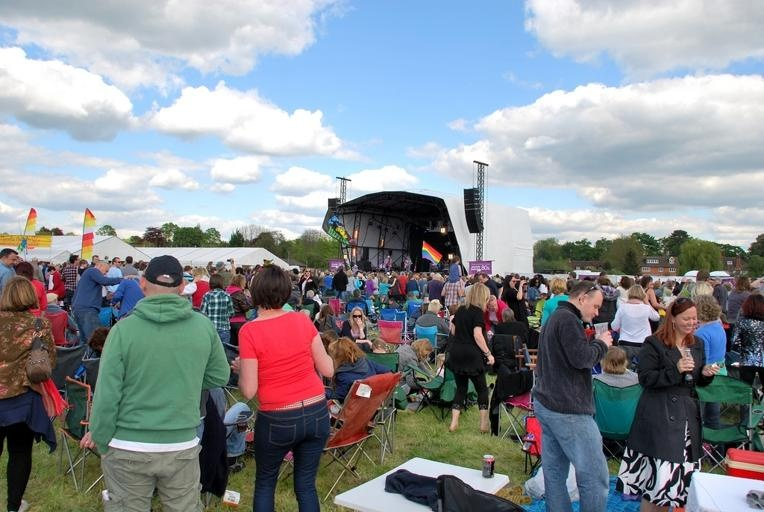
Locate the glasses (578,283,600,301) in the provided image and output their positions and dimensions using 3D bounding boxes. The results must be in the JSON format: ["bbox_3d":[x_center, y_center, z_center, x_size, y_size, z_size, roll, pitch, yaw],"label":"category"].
[{"bbox_3d":[1.771,0.309,4.894,0.055,0.125,0.097,33,1,-1],"label":"glasses"}]

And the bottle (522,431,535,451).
[{"bbox_3d":[1.611,2.040,6.322,0.072,0.203,0.152,1,-1,-30],"label":"bottle"}]

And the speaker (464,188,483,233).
[{"bbox_3d":[4.167,-2.066,26.296,0.750,2.070,1.048,3,8,17],"label":"speaker"}]

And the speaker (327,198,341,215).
[{"bbox_3d":[-2.455,-2.526,28.862,0.566,0.624,0.596,0,8,-6],"label":"speaker"}]

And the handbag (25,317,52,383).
[{"bbox_3d":[-3.053,0.842,5.061,0.182,0.526,0.322,-4,9,-33],"label":"handbag"}]

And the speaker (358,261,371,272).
[{"bbox_3d":[-0.962,0.514,30.404,0.567,0.559,0.574,3,-6,-24],"label":"speaker"}]

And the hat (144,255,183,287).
[{"bbox_3d":[-1.607,0.109,4.224,0.186,0.147,0.269,4,8,-24],"label":"hat"}]

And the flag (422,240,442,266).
[{"bbox_3d":[2.855,-0.125,32.986,1.202,1.231,0.114,18,-31,-27],"label":"flag"}]

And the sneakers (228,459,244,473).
[{"bbox_3d":[-1.597,2.278,6.247,0.144,0.059,0.147,10,2,-1],"label":"sneakers"}]
